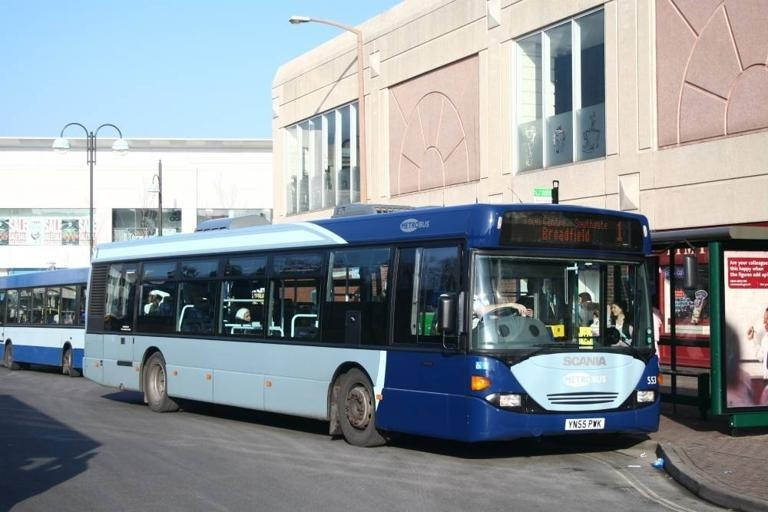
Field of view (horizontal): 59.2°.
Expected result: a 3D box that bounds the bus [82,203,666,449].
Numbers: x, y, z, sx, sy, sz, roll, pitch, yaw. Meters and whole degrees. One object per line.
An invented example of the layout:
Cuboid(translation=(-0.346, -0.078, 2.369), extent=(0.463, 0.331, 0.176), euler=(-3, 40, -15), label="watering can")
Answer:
Cuboid(translation=(-1.980, 1.398, 14.823), extent=(14.918, 4.245, 3.385), euler=(-5, -6, 44), label="bus")

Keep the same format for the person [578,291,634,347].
Cuboid(translation=(3.403, 0.984, 10.462), extent=(0.760, 0.740, 0.413), euler=(3, -8, -29), label="person")

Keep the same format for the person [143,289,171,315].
Cuboid(translation=(-5.518, 1.086, 16.386), extent=(0.538, 0.768, 0.745), euler=(6, -11, -42), label="person")
